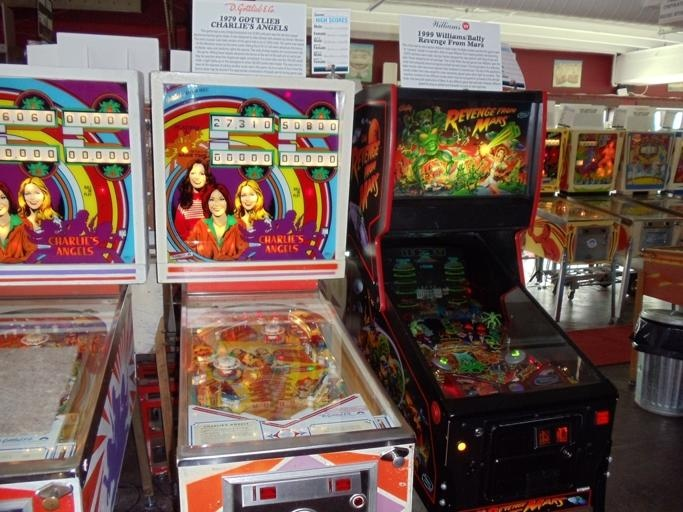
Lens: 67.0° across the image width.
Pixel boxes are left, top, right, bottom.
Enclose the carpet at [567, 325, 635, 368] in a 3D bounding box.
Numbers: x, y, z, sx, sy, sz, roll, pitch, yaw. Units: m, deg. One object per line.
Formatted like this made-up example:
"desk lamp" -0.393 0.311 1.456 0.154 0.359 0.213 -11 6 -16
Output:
"carpet" 2.440 0.809 4.754 0.551 0.004 0.605 -5 12 -3
